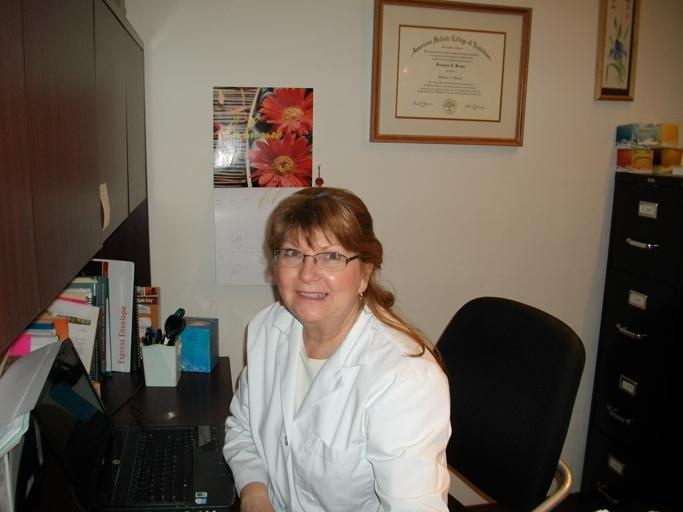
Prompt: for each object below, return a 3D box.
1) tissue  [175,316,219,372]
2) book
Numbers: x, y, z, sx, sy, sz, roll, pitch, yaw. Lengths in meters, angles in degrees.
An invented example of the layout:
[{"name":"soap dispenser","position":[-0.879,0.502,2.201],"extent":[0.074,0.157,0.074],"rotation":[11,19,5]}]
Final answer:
[{"name":"tissue ","position":[-0.597,0.367,2.084],"extent":[0.162,0.182,0.174],"rotation":[3,9,8]},{"name":"book","position":[-0.924,0.241,1.856],"extent":[0.301,0.453,0.142],"rotation":[0,11,-4]}]
